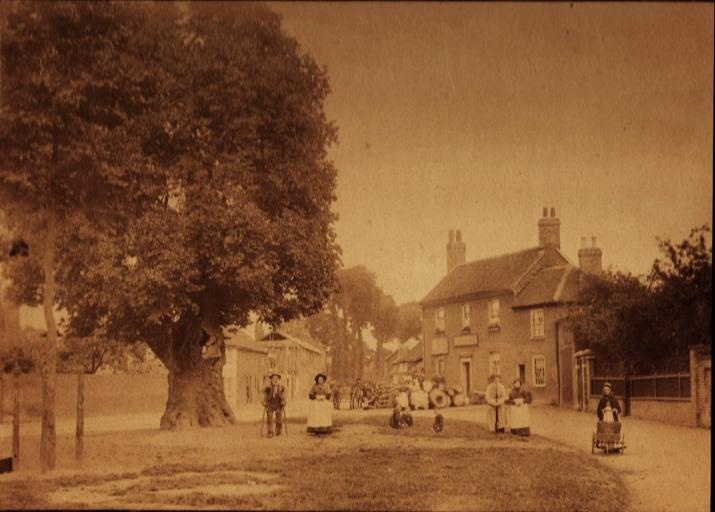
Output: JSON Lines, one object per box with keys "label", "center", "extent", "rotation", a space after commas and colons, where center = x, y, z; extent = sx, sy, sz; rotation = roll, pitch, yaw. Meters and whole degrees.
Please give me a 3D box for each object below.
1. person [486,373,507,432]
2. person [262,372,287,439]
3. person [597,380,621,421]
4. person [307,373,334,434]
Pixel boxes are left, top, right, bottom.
{"label": "person", "center": [3.011, 3.150, 17.838], "extent": [0.368, 1.299, 0.357], "rotation": [-1, 16, 14]}
{"label": "person", "center": [-1.815, 3.206, 17.951], "extent": [0.486, 1.412, 0.879], "rotation": [1, -13, -6]}
{"label": "person", "center": [5.154, 3.107, 16.868], "extent": [0.419, 1.098, 0.524], "rotation": [-5, 14, 21]}
{"label": "person", "center": [-0.812, 3.147, 17.713], "extent": [0.537, 1.324, 0.658], "rotation": [1, -12, -3]}
